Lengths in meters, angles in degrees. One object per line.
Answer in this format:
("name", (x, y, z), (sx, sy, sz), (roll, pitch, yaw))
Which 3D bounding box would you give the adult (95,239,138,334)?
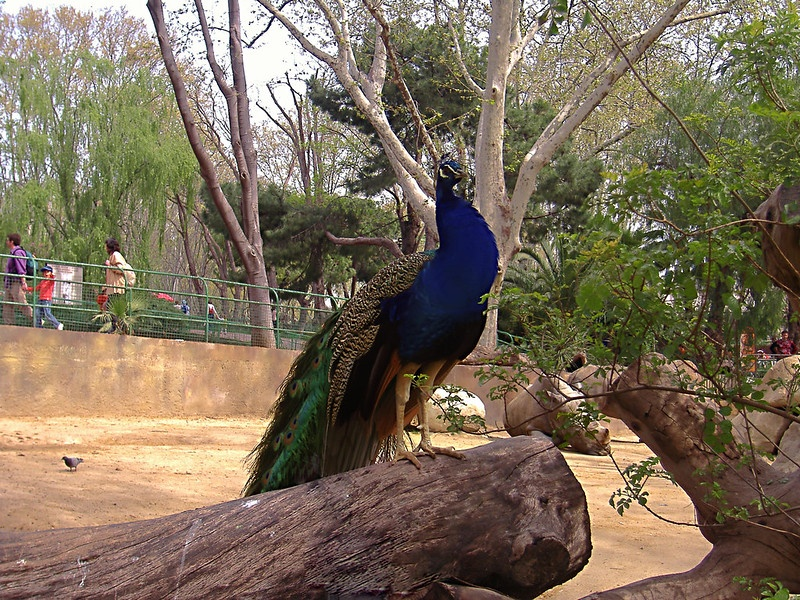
("adult", (-5.692, -0.279, 14.196), (0.681, 1.925, 0.988), (4, -2, -23))

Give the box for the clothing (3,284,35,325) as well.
("clothing", (-7.028, 0.085, 13.016), (0.455, 0.787, 0.457), (-5, -31, -13))

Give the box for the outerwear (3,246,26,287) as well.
("outerwear", (-7.156, -0.604, 13.167), (0.345, 0.733, 0.668), (6, -7, -22))

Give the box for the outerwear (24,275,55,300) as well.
("outerwear", (-6.817, -0.238, 13.340), (0.365, 0.673, 0.214), (3, -12, -14))

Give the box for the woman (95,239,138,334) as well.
("woman", (-5.687, -0.279, 14.184), (0.681, 1.925, 1.012), (4, -2, -23))

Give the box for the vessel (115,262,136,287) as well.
("vessel", (-5.592, -0.524, 14.513), (0.426, 0.636, 0.203), (-6, 7, 42))
